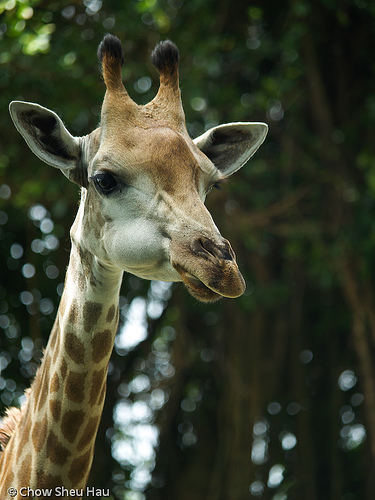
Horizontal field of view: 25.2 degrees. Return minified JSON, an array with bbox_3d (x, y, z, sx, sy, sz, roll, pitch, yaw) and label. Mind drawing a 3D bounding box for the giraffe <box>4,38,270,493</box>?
[{"bbox_3d":[-0.533,0.175,5.639,1.750,3.074,1.121,-8,16,4],"label":"giraffe"}]
